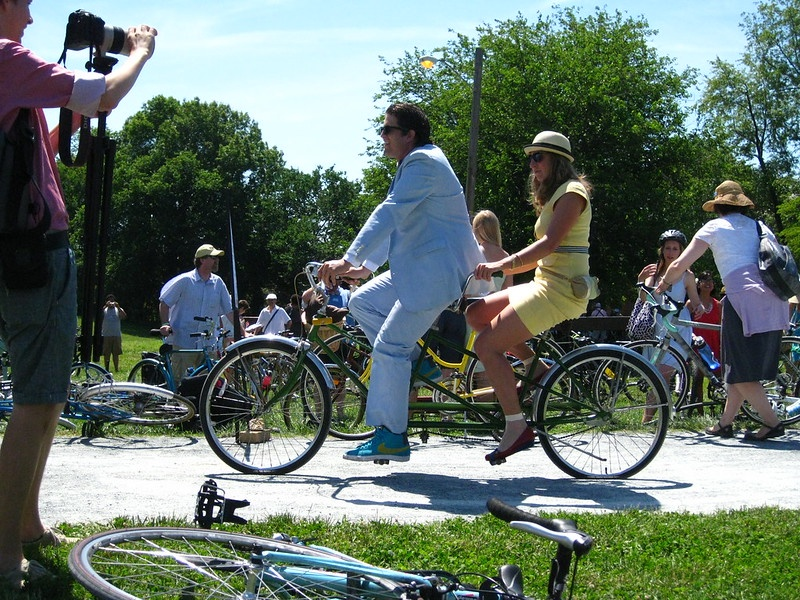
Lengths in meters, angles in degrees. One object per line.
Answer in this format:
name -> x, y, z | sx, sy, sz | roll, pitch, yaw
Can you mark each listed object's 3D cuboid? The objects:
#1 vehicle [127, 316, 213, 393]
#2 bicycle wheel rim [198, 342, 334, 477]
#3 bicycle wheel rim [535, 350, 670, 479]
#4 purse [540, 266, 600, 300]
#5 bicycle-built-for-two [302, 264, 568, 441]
vehicle -> -2.545, 0.665, 10.459 | 1.375, 0.887, 0.694 | -6, -13, 40
bicycle wheel rim -> -0.984, 0.835, 6.805 | 0.796, 0.845, 0.162 | -10, 5, 9
bicycle wheel rim -> 1.508, 0.810, 6.931 | 0.964, 1.015, 0.970 | 0, -1, 26
purse -> 1.252, -0.087, 6.490 | 0.314, 0.129, 0.221 | 13, 2, 11
bicycle-built-for-two -> -0.039, 0.515, 7.399 | 2.430, 1.563, 1.223 | 2, -2, -8
